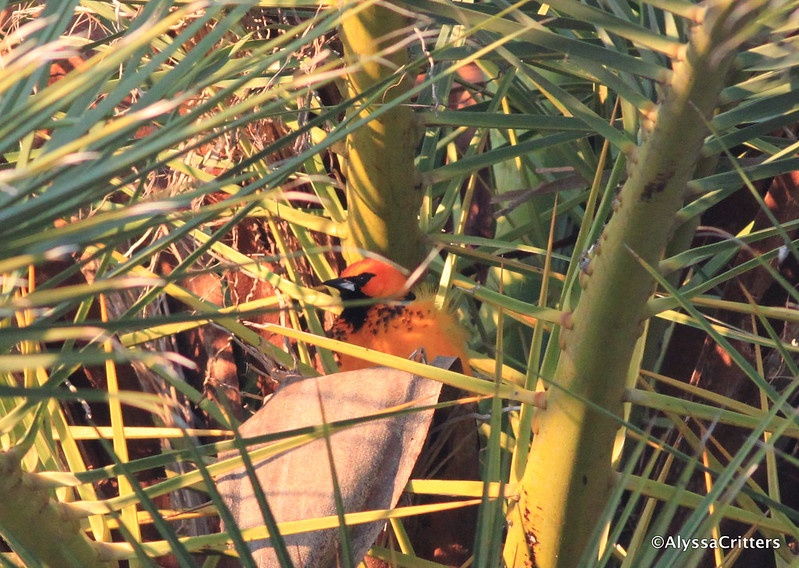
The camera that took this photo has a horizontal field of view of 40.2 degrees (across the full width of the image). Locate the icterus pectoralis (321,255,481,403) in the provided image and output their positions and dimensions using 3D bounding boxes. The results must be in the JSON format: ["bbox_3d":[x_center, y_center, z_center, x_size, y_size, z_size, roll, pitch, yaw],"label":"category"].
[{"bbox_3d":[0.035,0.035,1.680,0.280,0.173,0.198,-16,12,-32],"label":"icterus pectoralis"}]
